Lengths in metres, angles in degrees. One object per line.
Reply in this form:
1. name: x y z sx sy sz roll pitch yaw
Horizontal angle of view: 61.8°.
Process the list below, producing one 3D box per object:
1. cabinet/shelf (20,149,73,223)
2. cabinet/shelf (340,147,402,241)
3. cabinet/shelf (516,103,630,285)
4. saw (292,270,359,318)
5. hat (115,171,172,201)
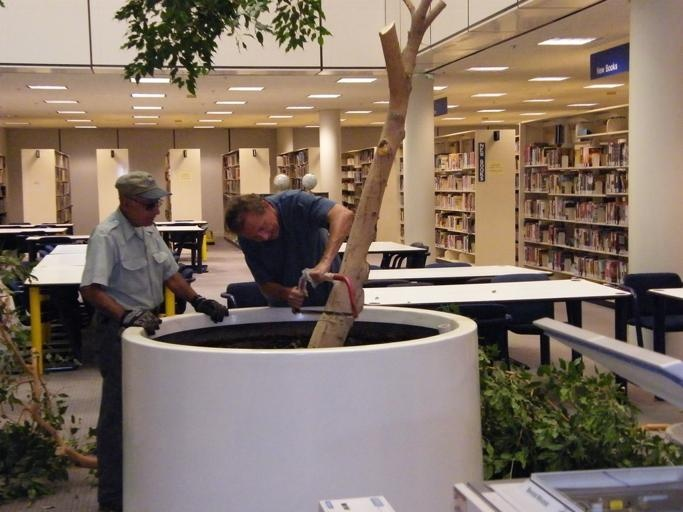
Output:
1. cabinet/shelf: -8.922 -2.133 17.286 1.142 2.341 7.125 -2 5 -25
2. cabinet/shelf: 1.194 -1.627 15.820 0.933 2.661 2.223 2 6 -16
3. cabinet/shelf: 3.835 -0.956 9.391 1.041 2.805 3.170 0 1 -18
4. saw: -0.062 0.131 1.984 0.047 0.177 0.311 1 -5 -42
5. hat: -1.061 -0.365 3.025 0.238 0.121 0.165 -2 9 -8
